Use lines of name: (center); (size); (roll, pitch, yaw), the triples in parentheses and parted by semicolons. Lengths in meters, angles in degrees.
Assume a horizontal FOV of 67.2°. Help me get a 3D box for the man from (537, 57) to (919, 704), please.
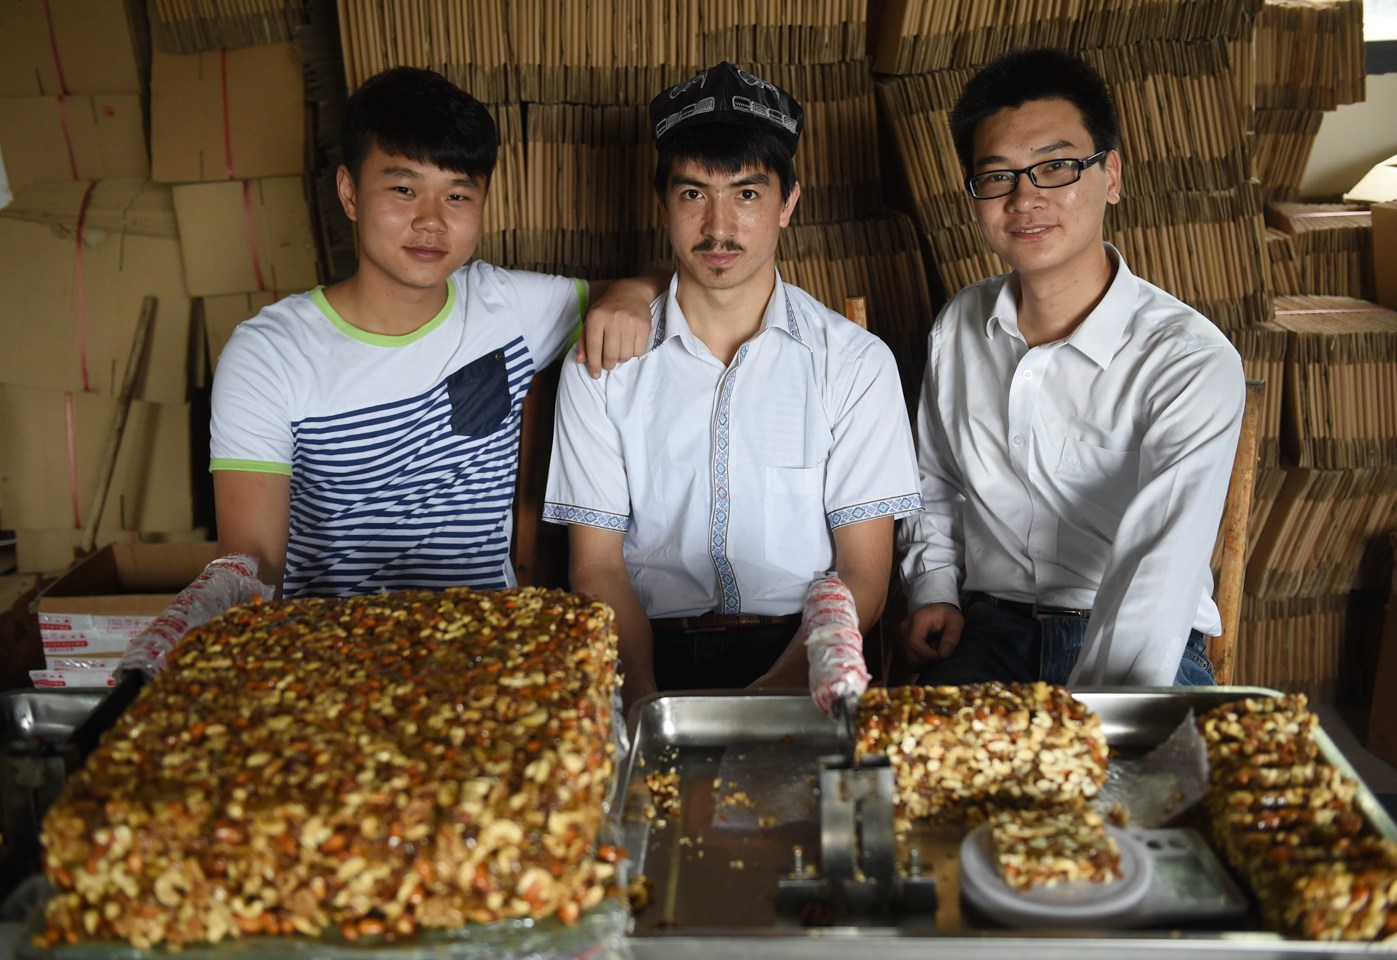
man: (0.076, -0.136, 2.728); (0.968, 1.714, 0.936); (2, 11, 14)

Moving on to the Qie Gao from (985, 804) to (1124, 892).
Qie Gao: (0.607, 0.629, 1.804); (0.221, 0.058, 0.157); (-2, 12, -3)

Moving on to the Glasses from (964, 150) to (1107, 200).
Glasses: (0.860, -0.772, 2.679); (0.332, 0.110, 0.124); (2, 12, 19)

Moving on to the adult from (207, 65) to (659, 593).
adult: (-0.673, -0.412, 2.923); (1.269, 1.357, 0.752); (-10, 24, -31)

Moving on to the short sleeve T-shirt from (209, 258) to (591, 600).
short sleeve T-shirt: (-0.782, -0.133, 2.966); (1.073, 0.844, 0.406); (-11, 24, -30)

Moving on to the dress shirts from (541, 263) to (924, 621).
dress shirts: (0.088, -0.096, 2.924); (0.983, 0.990, 0.421); (3, 8, 14)

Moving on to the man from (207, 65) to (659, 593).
man: (-0.673, -0.412, 2.923); (1.269, 1.357, 0.752); (-10, 24, -31)

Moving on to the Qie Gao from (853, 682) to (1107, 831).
Qie Gao: (0.516, 0.492, 1.939); (0.370, 0.161, 0.251); (-2, 38, -4)

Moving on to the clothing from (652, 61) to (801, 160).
clothing: (0.076, -0.952, 2.690); (0.384, 0.216, 0.181); (-2, 11, -2)
